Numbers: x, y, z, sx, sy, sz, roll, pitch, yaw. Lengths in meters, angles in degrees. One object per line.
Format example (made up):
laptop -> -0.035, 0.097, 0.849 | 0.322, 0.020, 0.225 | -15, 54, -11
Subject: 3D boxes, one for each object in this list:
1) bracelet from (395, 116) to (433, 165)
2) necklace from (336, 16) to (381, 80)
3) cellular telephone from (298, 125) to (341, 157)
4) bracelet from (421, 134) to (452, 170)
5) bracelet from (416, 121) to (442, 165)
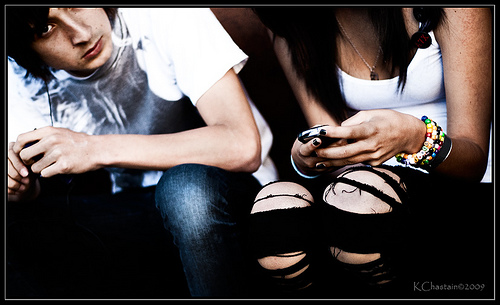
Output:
bracelet -> 0.676, -0.037, 1.662 | 0.059, 0.179, 0.143 | 21, 17, -9
necklace -> 0.490, -0.470, 1.846 | 0.053, 0.115, 0.340 | -32, 83, -38
cellular telephone -> 0.235, -0.034, 1.593 | 0.112, 0.107, 0.024 | 16, 59, -25
bracelet -> 0.734, 0.005, 1.647 | 0.037, 0.120, 0.115 | 27, 67, -19
bracelet -> 0.713, -0.030, 1.646 | 0.041, 0.111, 0.129 | 28, 87, 37
